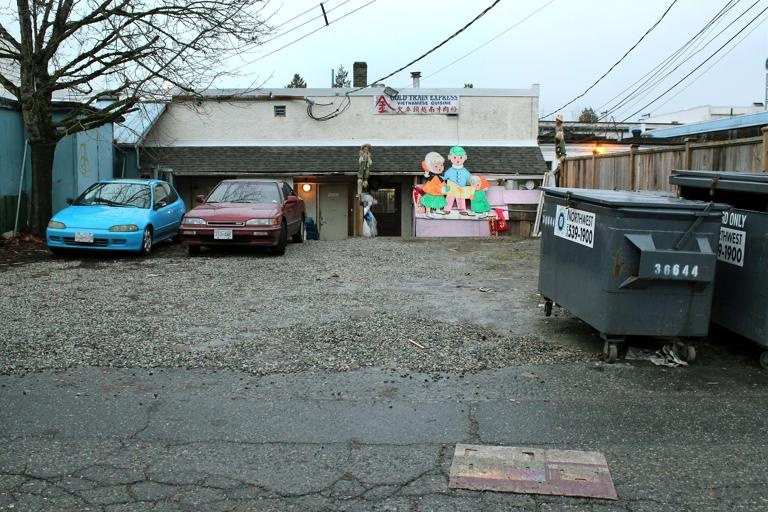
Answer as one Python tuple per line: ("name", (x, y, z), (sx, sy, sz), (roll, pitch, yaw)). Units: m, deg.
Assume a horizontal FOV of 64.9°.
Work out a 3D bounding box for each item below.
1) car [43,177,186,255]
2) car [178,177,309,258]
("car", (-6.057, -0.876, 13.674), (1.855, 1.585, 2.526), (0, 8, 3))
("car", (-3.294, -0.939, 14.352), (2.183, 1.686, 2.676), (1, 8, 6))
